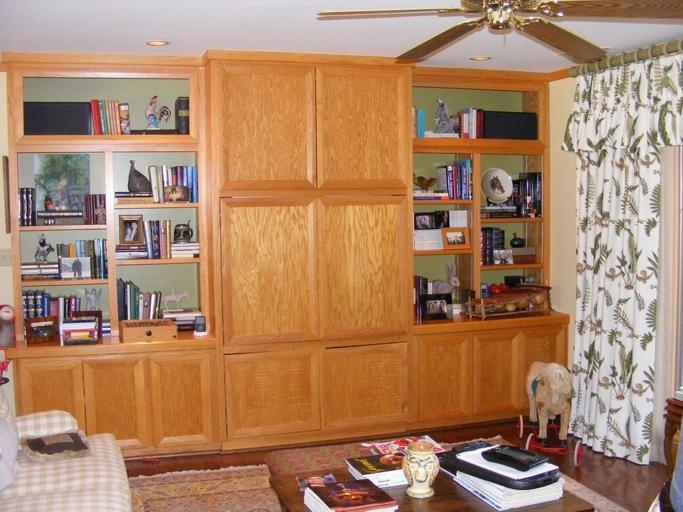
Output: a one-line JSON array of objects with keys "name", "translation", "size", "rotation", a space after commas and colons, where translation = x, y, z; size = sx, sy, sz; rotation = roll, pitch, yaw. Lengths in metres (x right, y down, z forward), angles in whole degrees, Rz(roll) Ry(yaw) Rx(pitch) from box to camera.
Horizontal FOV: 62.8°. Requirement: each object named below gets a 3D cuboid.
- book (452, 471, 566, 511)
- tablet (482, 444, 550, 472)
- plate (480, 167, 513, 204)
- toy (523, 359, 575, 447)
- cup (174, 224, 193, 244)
[{"name": "book", "translation": [0.761, 1.118, 2.687], "size": [0.213, 0.050, 0.217], "rotation": [-2, 6, -29]}, {"name": "tablet", "translation": [0.839, 0.991, 2.782], "size": [0.117, 0.047, 0.188], "rotation": [-2, 7, -38]}, {"name": "plate", "translation": [1.437, -0.651, 5.183], "size": [0.318, 0.302, 0.082], "rotation": [1, 1, 1]}, {"name": "toy", "translation": [1.680, 1.157, 4.522], "size": [0.283, 0.651, 0.482], "rotation": [-4, 3, -8]}, {"name": "cup", "translation": [-1.326, -0.191, 4.745], "size": [0.176, 0.162, 0.135], "rotation": [2, 0, -9]}]
